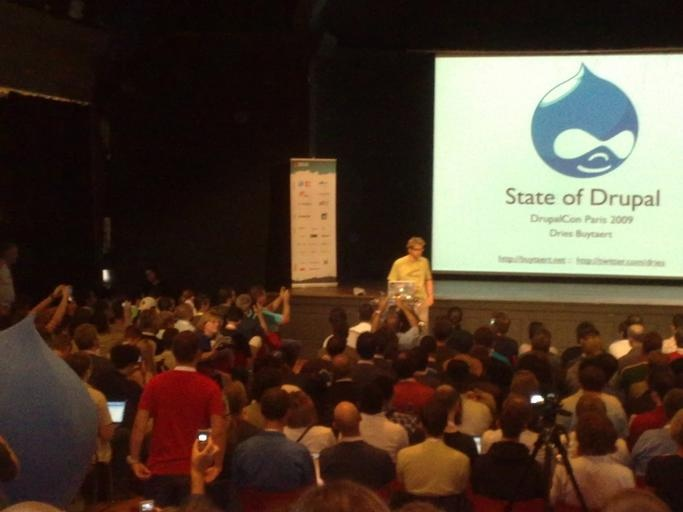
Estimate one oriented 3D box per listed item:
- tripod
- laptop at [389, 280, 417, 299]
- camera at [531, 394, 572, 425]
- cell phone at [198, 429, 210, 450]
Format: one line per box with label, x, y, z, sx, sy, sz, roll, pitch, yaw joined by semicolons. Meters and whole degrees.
tripod;1.221;1.230;3.390;0.386;0.613;0.478;6;-21;27
laptop;0.751;0.419;7.101;0.286;0.197;0.205;0;-4;8
camera;1.259;0.968;3.460;0.295;0.137;0.203;1;19;16
cell phone;-0.622;0.834;2.579;0.060;0.088;0.009;1;-5;-4
